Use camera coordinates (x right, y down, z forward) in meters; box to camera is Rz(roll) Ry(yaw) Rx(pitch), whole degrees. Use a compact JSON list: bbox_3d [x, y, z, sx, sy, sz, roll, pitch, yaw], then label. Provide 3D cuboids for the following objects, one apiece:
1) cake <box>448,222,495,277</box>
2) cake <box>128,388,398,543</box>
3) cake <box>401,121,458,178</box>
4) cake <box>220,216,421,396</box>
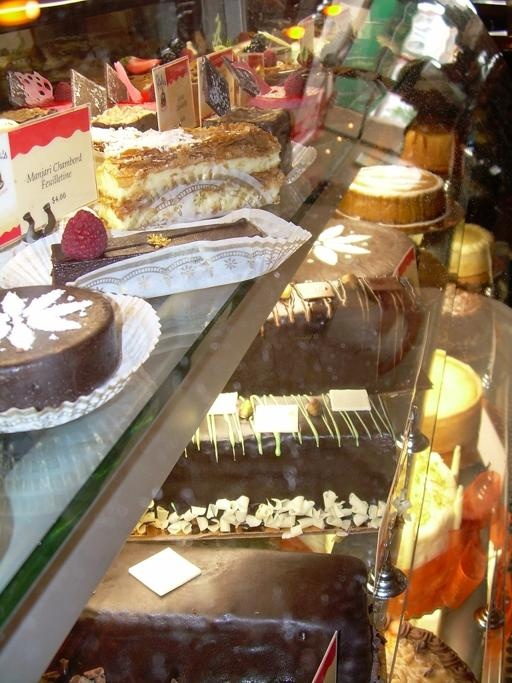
[{"bbox_3d":[0.622,-0.271,1.541,0.148,0.118,0.140,-6,36,0],"label":"cake"},{"bbox_3d":[0.030,0.256,1.119,0.458,0.124,0.308,-2,40,-1],"label":"cake"},{"bbox_3d":[0.426,-0.479,1.348,0.131,0.113,0.120,33,61,23],"label":"cake"},{"bbox_3d":[0.152,0.005,1.435,0.416,0.364,0.528,12,64,5],"label":"cake"}]
